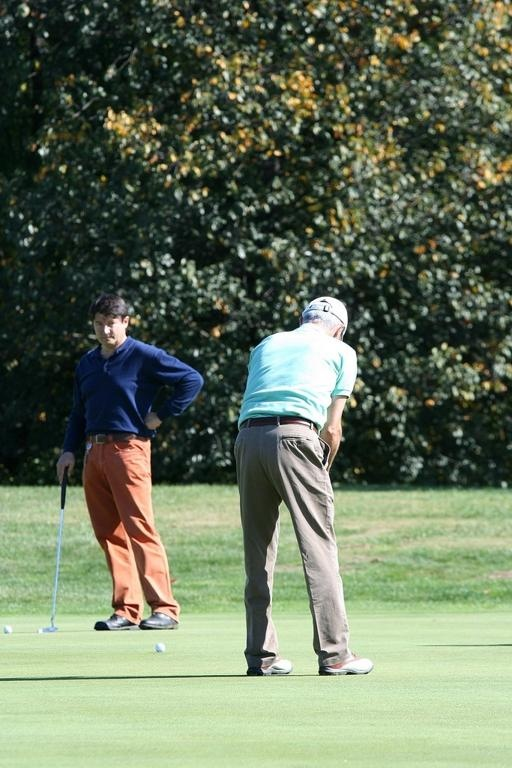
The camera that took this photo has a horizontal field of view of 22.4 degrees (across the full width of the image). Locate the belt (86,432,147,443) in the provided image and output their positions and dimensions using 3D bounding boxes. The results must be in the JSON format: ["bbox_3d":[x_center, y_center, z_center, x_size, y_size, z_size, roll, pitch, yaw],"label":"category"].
[{"bbox_3d":[-0.738,0.293,6.747,0.318,0.050,0.160,0,-4,2],"label":"belt"}]

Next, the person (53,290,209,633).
[{"bbox_3d":[-0.717,0.415,6.861,0.709,1.769,0.491,0,-3,9],"label":"person"}]

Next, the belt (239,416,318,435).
[{"bbox_3d":[0.086,0.155,4.846,0.290,0.051,0.142,0,-4,8],"label":"belt"}]

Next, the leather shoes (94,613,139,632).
[{"bbox_3d":[-0.725,1.249,6.666,0.206,0.091,0.094,7,-14,-10],"label":"leather shoes"}]

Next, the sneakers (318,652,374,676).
[{"bbox_3d":[0.343,1.038,4.745,0.197,0.096,0.075,-4,-2,-5],"label":"sneakers"}]

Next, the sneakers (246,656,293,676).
[{"bbox_3d":[0.059,1.051,4.795,0.171,0.075,0.065,-4,3,-10],"label":"sneakers"}]

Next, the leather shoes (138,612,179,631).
[{"bbox_3d":[-0.500,1.237,6.636,0.190,0.079,0.080,9,-26,-28],"label":"leather shoes"}]

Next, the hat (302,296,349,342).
[{"bbox_3d":[0.280,-0.251,5.179,0.139,0.184,0.184,6,0,17],"label":"hat"}]

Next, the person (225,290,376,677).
[{"bbox_3d":[0.189,0.442,4.891,0.523,1.297,0.357,0,-3,8],"label":"person"}]
